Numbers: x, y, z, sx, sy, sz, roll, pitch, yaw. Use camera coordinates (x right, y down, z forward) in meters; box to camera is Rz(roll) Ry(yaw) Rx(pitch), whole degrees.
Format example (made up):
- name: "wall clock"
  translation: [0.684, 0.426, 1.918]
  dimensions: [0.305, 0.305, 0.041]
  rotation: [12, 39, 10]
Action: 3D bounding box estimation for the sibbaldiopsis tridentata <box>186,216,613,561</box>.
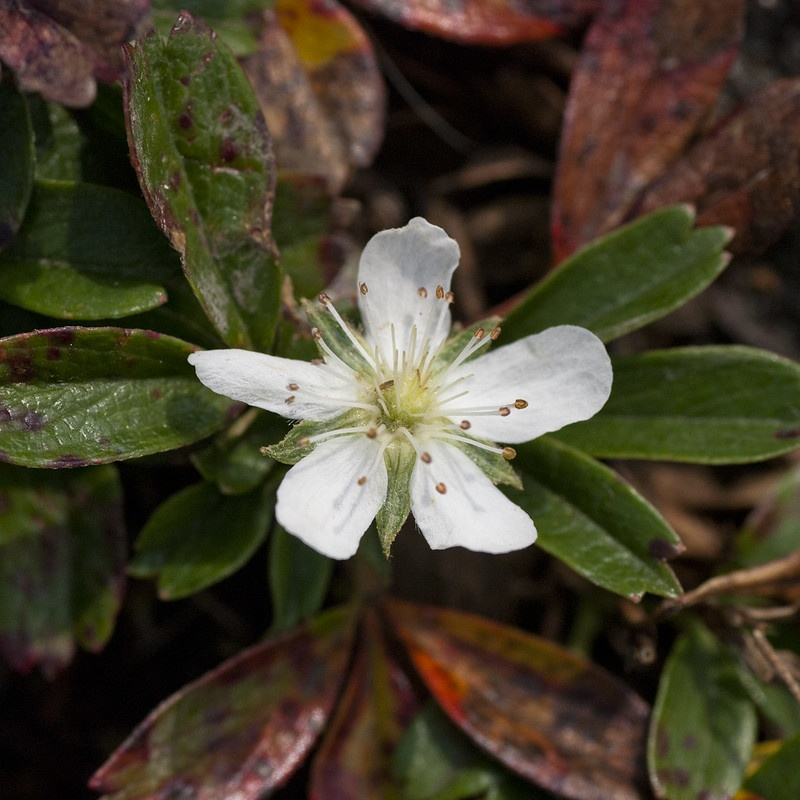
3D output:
- name: "sibbaldiopsis tridentata"
  translation: [0.015, 0.034, 1.638]
  dimensions: [0.868, 0.214, 0.635]
  rotation: [0, 70, -17]
